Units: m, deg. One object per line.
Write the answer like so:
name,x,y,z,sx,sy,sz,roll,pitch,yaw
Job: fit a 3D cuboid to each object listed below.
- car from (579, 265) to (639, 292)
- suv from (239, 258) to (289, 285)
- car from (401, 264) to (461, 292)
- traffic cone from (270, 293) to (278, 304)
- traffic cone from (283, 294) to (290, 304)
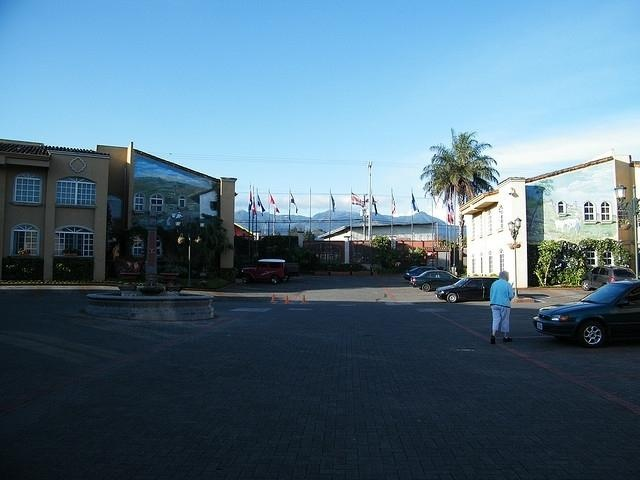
car,15.161,1.960,29.015,1.669,1.463,2.863,0,5,-2
suv,-4.746,2.816,49.164,3.227,1.748,2.054,3,-2,2
car,8.172,2.800,39.616,3.789,1.256,1.775,-3,5,-10
traffic cone,-2.677,3.418,32.207,0.441,0.659,0.436,4,-4,-33
traffic cone,-1.916,3.352,31.329,0.425,0.651,0.447,-2,4,-3
